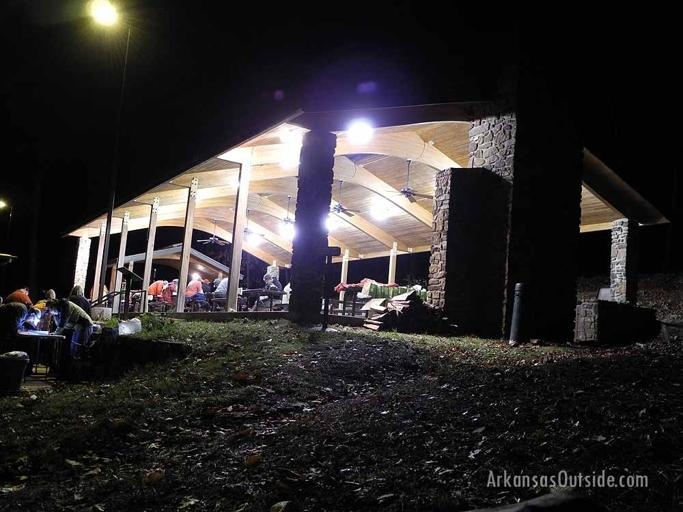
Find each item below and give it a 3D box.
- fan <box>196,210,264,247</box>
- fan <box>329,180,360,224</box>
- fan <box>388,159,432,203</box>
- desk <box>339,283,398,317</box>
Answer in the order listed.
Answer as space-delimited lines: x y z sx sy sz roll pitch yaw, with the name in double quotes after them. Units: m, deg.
-6.029 -1.584 29.421 4.767 1.934 2.236 -3 4 -29 "fan"
0.024 -2.186 23.383 1.413 1.346 1.341 16 -29 -38 "fan"
2.665 -2.540 20.382 1.309 1.197 1.238 0 -19 28 "fan"
0.802 1.515 20.085 1.514 0.840 1.657 -2 -5 10 "desk"
